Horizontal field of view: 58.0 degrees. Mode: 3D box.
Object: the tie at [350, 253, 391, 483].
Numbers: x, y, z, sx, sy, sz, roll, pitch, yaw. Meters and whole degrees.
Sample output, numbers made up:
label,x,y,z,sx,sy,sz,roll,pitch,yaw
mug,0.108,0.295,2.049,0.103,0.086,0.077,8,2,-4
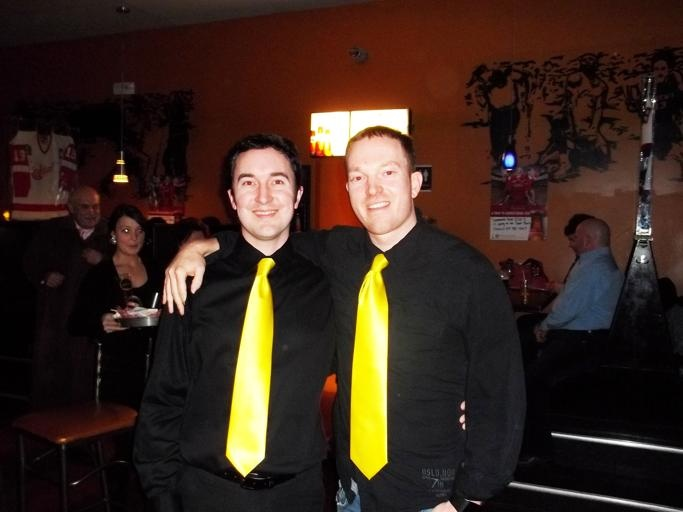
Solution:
label,x,y,z,sx,sy,sz,roll,pitch,yaw
tie,0.141,0.557,3.113,0.208,1.108,0.243,-1,5,3
